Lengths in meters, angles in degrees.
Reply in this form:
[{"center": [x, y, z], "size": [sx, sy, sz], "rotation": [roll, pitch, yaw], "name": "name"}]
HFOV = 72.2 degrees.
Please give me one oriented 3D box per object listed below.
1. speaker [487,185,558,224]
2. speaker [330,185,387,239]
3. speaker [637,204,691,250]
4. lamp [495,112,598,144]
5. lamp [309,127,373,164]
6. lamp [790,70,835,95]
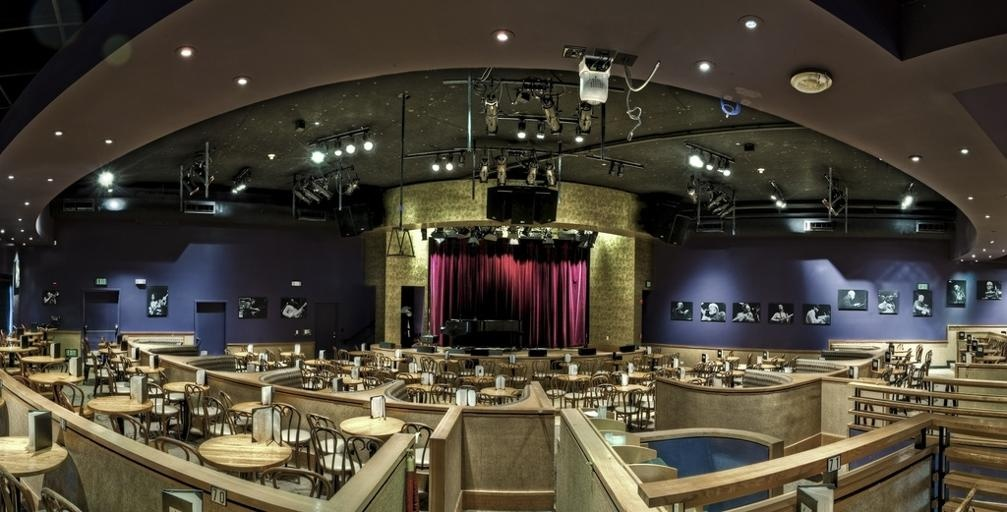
[{"center": [0.512, -1.447, 19.306], "size": [1.955, 1.042, 0.580], "rotation": [1, -7, -4], "name": "speaker"}, {"center": [-4.819, -1.281, 21.704], "size": [1.671, 1.501, 0.474], "rotation": [-15, -26, 28], "name": "speaker"}, {"center": [5.270, -1.049, 22.545], "size": [1.707, 1.049, 0.572], "rotation": [13, 6, 3], "name": "speaker"}, {"center": [0.912, -3.011, 16.005], "size": [2.300, 0.519, 2.347], "rotation": [-3, 13, 1], "name": "lamp"}, {"center": [-4.130, -2.845, 17.459], "size": [2.759, 0.782, 0.561], "rotation": [-6, -6, 41], "name": "lamp"}, {"center": [5.194, -2.931, 11.649], "size": [0.697, 0.256, 0.506], "rotation": [4, -8, -30], "name": "lamp"}]
